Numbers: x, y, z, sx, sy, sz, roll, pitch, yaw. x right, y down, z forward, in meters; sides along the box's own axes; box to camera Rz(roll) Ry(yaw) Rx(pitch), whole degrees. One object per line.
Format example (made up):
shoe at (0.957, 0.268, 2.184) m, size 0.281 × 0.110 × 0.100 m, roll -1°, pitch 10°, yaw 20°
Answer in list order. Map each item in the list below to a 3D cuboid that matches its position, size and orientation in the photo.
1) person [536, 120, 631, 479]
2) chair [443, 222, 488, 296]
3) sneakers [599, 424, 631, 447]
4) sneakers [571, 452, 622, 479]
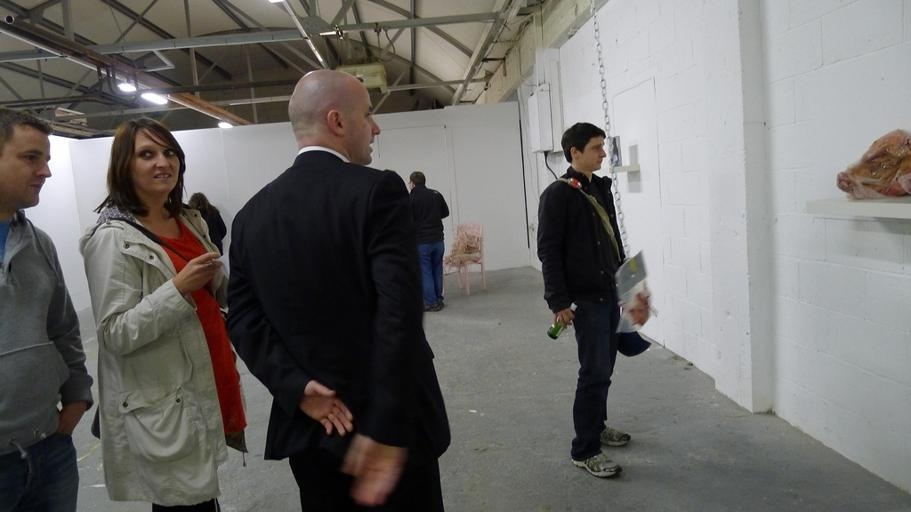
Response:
person at (0.899, 0.288, 3.974) m, size 0.571 × 2.430 × 0.523 m, roll 1°, pitch 9°, yaw 16°
chair at (0.115, 0.002, 9.063) m, size 0.750 × 0.966 × 0.731 m, roll -7°, pitch 6°, yaw -30°
sneakers at (1.202, 1.356, 4.206) m, size 0.226 × 0.100 × 0.127 m, roll -6°, pitch 4°, yaw 17°
sneakers at (1.010, 1.460, 3.956) m, size 0.344 × 0.141 × 0.143 m, roll -2°, pitch 2°, yaw 31°
